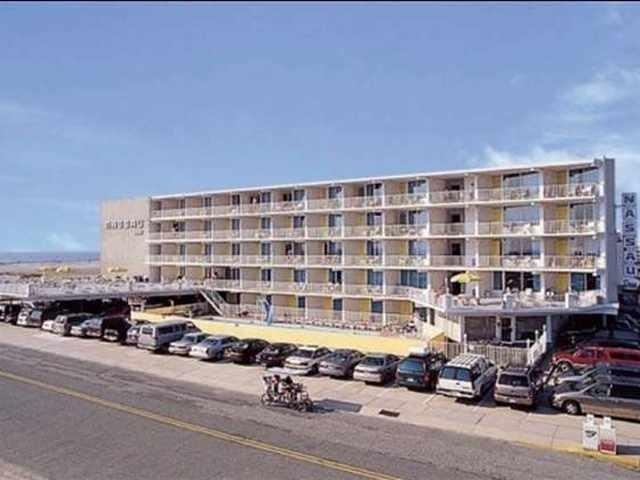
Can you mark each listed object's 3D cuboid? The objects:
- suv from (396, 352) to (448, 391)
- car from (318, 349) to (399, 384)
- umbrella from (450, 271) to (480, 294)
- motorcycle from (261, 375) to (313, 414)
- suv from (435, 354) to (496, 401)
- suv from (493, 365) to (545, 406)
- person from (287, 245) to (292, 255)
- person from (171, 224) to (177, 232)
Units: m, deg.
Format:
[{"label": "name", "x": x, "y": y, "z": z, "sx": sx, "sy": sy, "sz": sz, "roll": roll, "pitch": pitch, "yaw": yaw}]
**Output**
[{"label": "suv", "x": 6.087, "y": 7.522, "z": 32.951, "sx": 1.685, "sy": 1.194, "sz": 3.257, "roll": 1, "pitch": 8, "yaw": 30}, {"label": "car", "x": 2.406, "y": 7.860, "z": 34.325, "sx": 4.012, "sy": 1.679, "sz": 2.423, "roll": 3, "pitch": 6, "yaw": 27}, {"label": "umbrella", "x": 11.895, "y": 3.550, "z": 46.464, "sx": 2.744, "sy": 1.724, "sz": 2.610, "roll": -7, "pitch": 6, "yaw": -3}, {"label": "motorcycle", "x": -2.237, "y": 8.011, "z": 29.772, "sx": 1.179, "sy": 1.642, "sz": 3.928, "roll": -20, "pitch": -24, "yaw": 39}, {"label": "suv", "x": 8.553, "y": 7.552, "z": 31.887, "sx": 2.567, "sy": 1.737, "sz": 4.755, "roll": 3, "pitch": 9, "yaw": 29}, {"label": "suv", "x": 11.074, "y": 7.795, "z": 30.820, "sx": 2.289, "sy": 1.624, "sz": 4.345, "roll": 1, "pitch": 4, "yaw": 28}, {"label": "person", "x": -3.302, "y": 0.985, "z": 58.994, "sx": 0.327, "sy": 1.092, "sz": 1.194, "roll": -2, "pitch": 6, "yaw": -23}, {"label": "person", "x": -17.695, "y": -1.537, "z": 67.649, "sx": 0.582, "sy": 1.047, "sz": 0.887, "roll": -5, "pitch": 8, "yaw": -40}]
